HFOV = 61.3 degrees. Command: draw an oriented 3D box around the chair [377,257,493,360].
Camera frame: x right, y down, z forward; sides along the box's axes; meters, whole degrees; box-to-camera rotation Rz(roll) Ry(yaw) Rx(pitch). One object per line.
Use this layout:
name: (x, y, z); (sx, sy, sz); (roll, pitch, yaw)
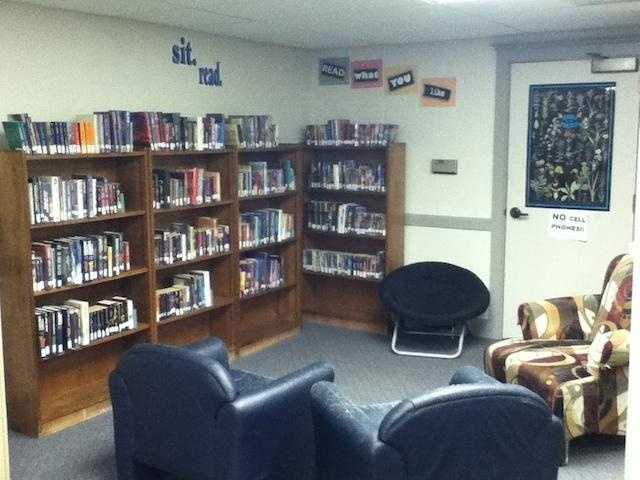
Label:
chair: (1.159, 0.565, 5.515); (0.979, 0.611, 1.014); (4, 24, 20)
